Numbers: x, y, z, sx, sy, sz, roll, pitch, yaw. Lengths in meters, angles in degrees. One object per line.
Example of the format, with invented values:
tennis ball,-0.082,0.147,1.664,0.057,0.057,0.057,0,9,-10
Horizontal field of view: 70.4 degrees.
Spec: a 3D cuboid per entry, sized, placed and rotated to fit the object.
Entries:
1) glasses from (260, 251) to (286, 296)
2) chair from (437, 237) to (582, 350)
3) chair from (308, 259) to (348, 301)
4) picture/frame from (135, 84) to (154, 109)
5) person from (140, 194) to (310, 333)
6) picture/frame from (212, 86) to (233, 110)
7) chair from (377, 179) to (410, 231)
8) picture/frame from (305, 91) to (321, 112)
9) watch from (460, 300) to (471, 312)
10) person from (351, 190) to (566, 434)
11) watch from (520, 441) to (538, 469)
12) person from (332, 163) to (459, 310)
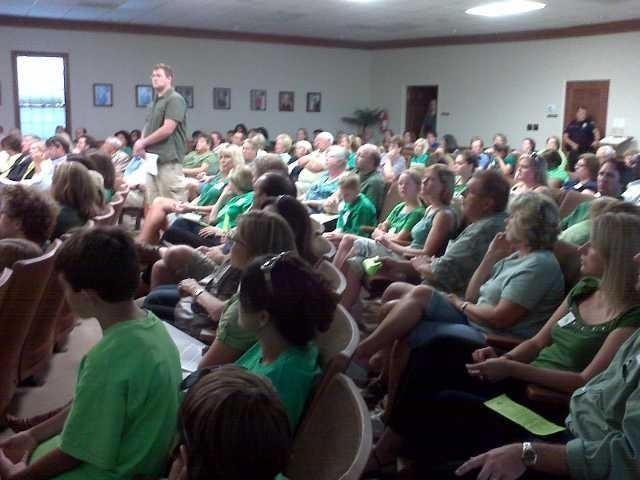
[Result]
glasses,-0.129,0.078,1.256,0.061,0.087,0.033,-8,-1,-37
chair,0.861,0.216,2.039,0.339,0.457,0.466,11,5,11
chair,0.047,0.149,1.844,0.126,0.166,0.139,-3,2,-16
picture/frame,-0.842,-0.694,2.164,0.100,0.119,0.016,3,15,4
person,-0.436,-0.046,1.946,0.481,0.846,0.355,1,35,-22
picture/frame,-0.471,-0.678,2.174,0.112,0.136,0.014,0,4,-3
chair,0.497,-0.261,3.301,0.298,0.256,0.213,-22,2,-14
picture/frame,-0.037,-0.678,2.200,0.100,0.127,0.009,1,-1,-19
watch,0.654,0.296,2.042,0.038,0.010,0.040,-44,-3,26
person,0.549,0.278,2.071,0.923,1.057,0.599,10,9,8
watch,0.605,0.635,1.340,0.041,0.060,0.060,-9,32,11
person,0.392,0.019,2.842,0.813,1.035,0.413,6,19,0
